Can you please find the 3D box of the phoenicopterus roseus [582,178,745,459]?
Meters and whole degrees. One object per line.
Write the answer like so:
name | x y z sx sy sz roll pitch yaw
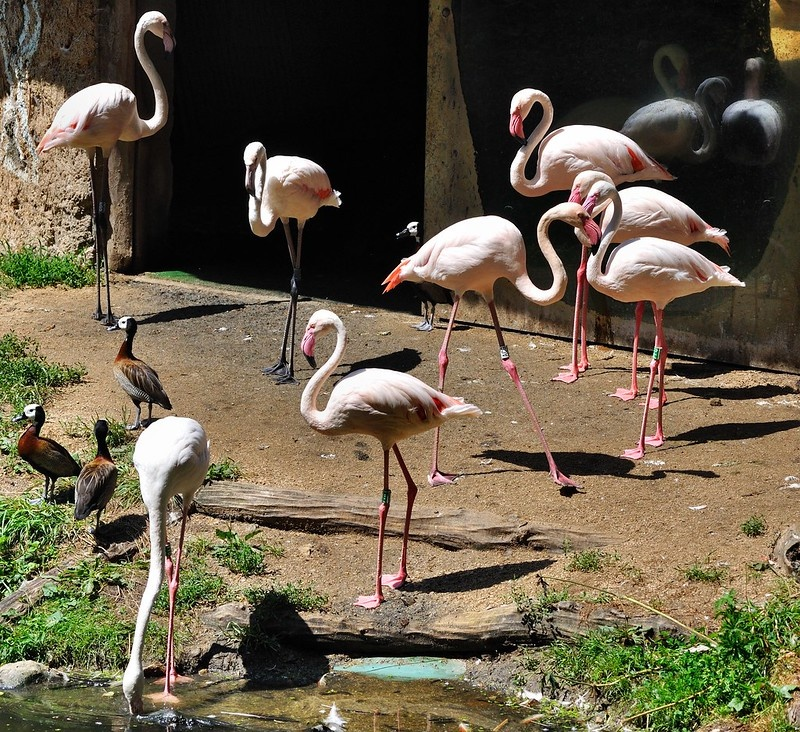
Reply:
phoenicopterus roseus | 1.833 -0.399 9.430 1.108 2.174 0.809 0 4 -33

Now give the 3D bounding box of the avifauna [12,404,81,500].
avifauna | -2.548 0.652 8.959 0.429 0.677 0.499 1 3 -15

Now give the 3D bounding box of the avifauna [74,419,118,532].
avifauna | -2.086 0.733 8.500 0.250 0.594 0.479 2 3 -7

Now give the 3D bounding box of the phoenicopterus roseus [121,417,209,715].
phoenicopterus roseus | -1.415 1.156 7.388 0.432 1.629 1.071 2 3 -4
